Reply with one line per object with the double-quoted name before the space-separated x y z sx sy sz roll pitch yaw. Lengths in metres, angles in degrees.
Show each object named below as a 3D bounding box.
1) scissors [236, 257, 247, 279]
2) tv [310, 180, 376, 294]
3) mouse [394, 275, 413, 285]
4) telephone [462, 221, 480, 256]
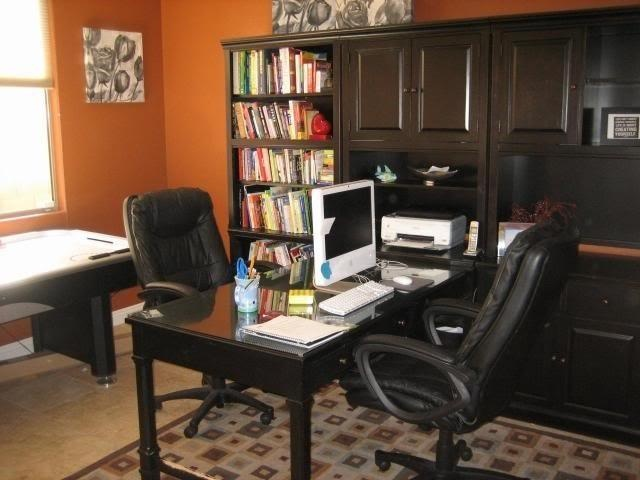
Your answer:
"scissors" -0.419 0.157 2.773 0.041 0.127 0.094 5 29 2
"tv" 0.141 -0.006 3.053 0.068 0.527 0.640 8 16 37
"mouse" 0.487 0.230 3.039 0.055 0.021 0.075 -11 13 -40
"telephone" 1.106 -0.021 3.747 0.120 0.240 0.097 5 6 27
